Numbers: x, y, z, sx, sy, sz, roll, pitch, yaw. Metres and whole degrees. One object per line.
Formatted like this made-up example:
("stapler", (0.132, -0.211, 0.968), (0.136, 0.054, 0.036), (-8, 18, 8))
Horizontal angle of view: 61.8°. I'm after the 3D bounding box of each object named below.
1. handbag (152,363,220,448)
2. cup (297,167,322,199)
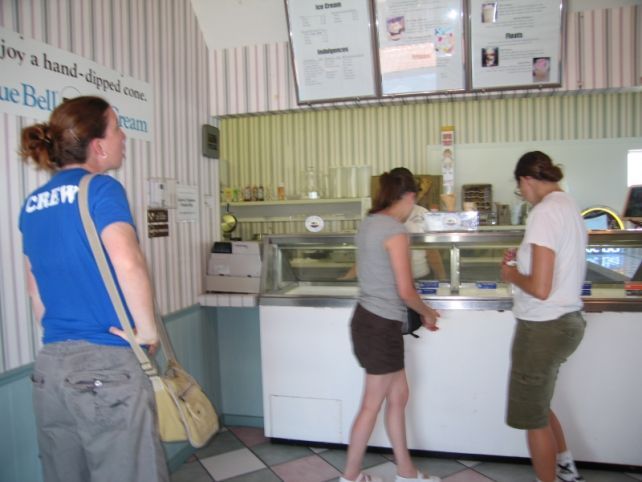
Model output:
("handbag", (-0.575, 0.658, 2.198), (0.202, 0.353, 0.260), (-14, 0, 0))
("cup", (-0.107, -0.645, 5.832), (0.211, 0.350, 0.500), (-3, 8, -2))
